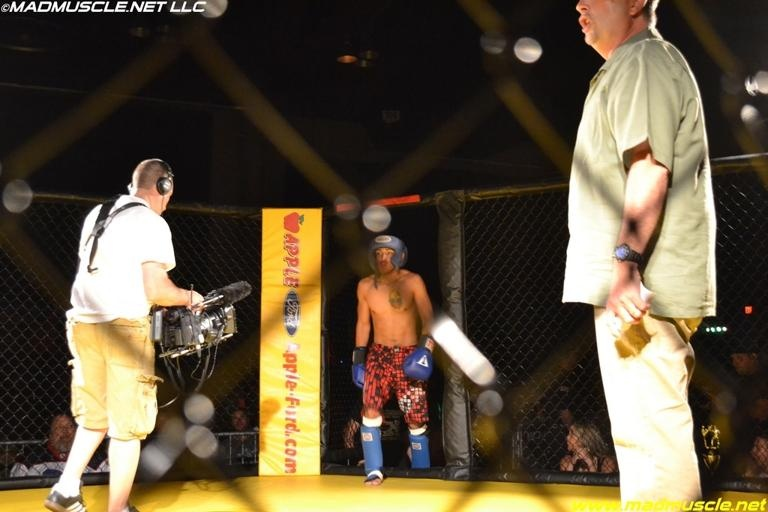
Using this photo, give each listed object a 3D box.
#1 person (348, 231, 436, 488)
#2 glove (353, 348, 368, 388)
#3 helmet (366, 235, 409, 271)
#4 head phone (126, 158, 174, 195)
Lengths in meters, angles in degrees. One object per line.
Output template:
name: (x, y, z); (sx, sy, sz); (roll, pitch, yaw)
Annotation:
person: (0.088, 1.058, 9.606); (0.790, 2.072, 0.980); (0, 0, -5)
glove: (-0.252, 1.092, 9.683); (0.112, 0.322, 0.225); (7, -6, -12)
helmet: (0.057, -0.047, 9.995); (0.375, 0.318, 0.407); (2, -2, 4)
head phone: (-1.996, -0.666, 8.546); (0.362, 0.367, 0.265); (21, -16, -39)
